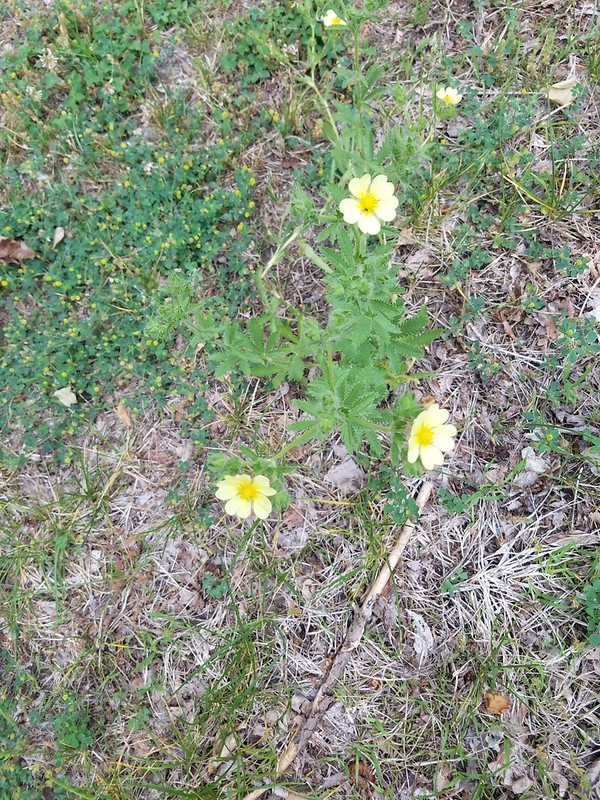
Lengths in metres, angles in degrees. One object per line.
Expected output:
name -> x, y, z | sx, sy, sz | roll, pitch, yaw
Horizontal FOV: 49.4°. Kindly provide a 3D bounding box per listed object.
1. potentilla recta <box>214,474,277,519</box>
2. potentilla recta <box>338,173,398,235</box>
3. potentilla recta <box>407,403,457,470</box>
potentilla recta -> -0.175, 0.325, 2.207 | 0.183, 0.170, 0.143 | 11, 73, 17
potentilla recta -> 0.225, -0.665, 2.201 | 0.173, 0.182, 0.064 | 16, 87, -23
potentilla recta -> 0.394, 0.102, 2.156 | 0.092, 0.209, 0.215 | 6, 77, 42
